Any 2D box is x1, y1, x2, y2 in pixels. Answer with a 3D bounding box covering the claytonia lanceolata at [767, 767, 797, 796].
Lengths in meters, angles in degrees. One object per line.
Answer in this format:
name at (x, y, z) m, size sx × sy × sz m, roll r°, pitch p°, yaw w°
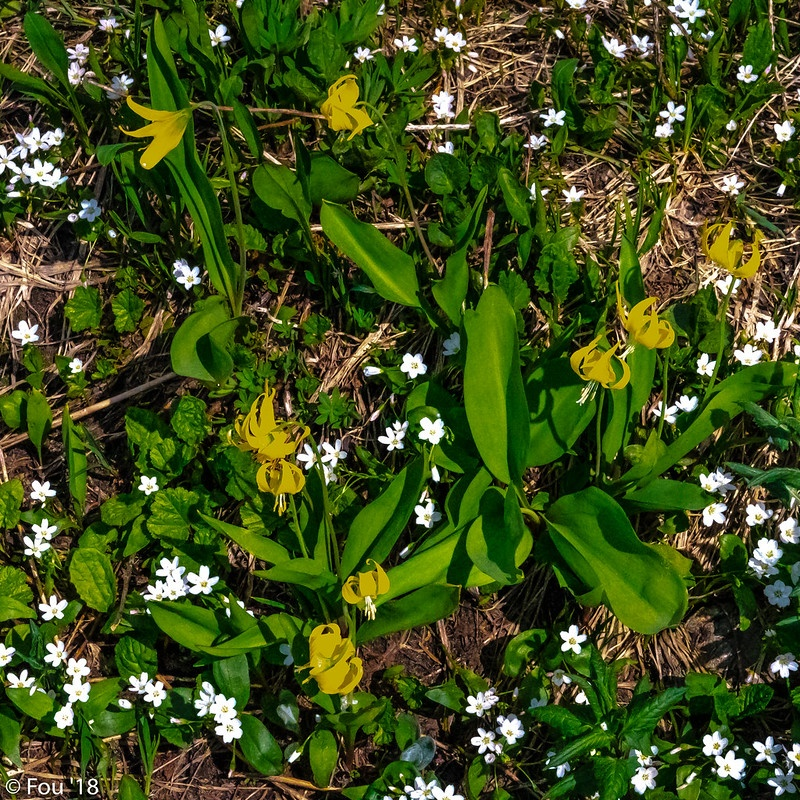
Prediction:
claytonia lanceolata at (0.997, 1.003, 2.305) m, size 0.067 × 0.025 × 0.078 m, roll 31°, pitch 74°, yaw 23°
